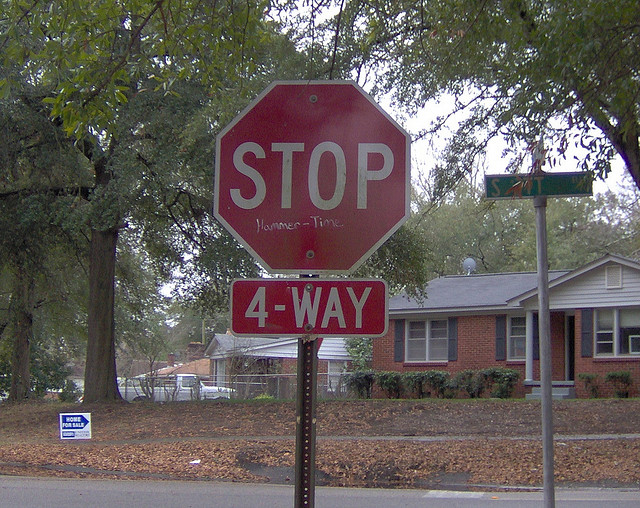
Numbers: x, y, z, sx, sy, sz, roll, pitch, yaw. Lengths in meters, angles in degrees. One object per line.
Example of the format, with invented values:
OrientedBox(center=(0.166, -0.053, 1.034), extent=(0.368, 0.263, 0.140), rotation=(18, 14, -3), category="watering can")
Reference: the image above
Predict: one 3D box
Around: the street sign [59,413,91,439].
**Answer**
OrientedBox(center=(-4.625, 3.302, 19.138), extent=(0.584, 0.626, 0.086), rotation=(0, 1, 0), category="street sign")

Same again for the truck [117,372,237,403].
OrientedBox(center=(-5.332, 5.164, 38.290), extent=(3.217, 1.469, 1.803), rotation=(-1, -5, -11), category="truck")
